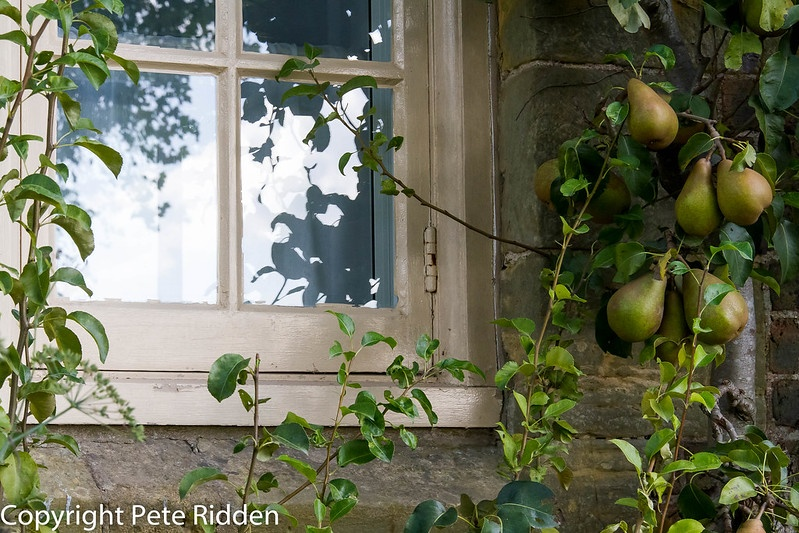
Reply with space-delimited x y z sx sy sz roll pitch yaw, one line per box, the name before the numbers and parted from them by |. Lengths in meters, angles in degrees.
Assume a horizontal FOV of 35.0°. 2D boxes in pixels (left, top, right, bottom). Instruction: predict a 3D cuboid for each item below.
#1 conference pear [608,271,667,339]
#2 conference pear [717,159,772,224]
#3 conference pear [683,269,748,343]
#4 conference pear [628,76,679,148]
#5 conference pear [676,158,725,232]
conference pear | 0.482 0.084 2.579 0.116 0.140 0.063 2 2 9
conference pear | 0.693 -0.146 2.523 0.125 0.129 0.091 2 2 -2
conference pear | 0.636 0.061 2.593 0.116 0.124 0.165 -13 26 3
conference pear | 0.534 -0.309 2.585 0.147 0.140 0.082 0 2 -32
conference pear | 0.604 -0.139 2.551 0.089 0.165 0.091 4 23 9
